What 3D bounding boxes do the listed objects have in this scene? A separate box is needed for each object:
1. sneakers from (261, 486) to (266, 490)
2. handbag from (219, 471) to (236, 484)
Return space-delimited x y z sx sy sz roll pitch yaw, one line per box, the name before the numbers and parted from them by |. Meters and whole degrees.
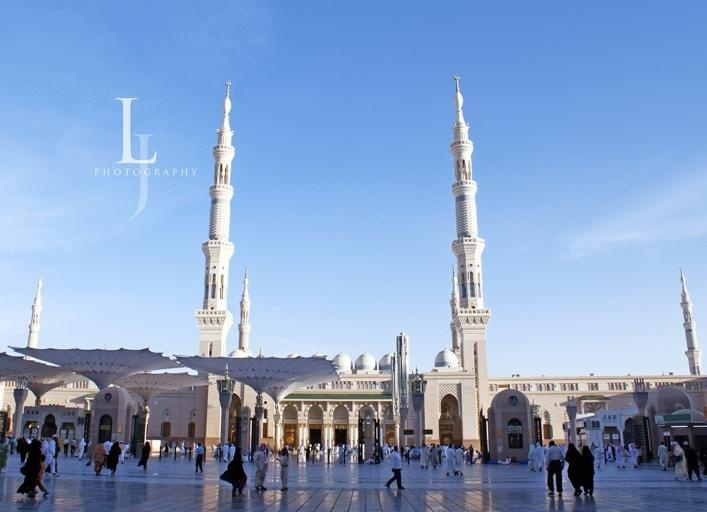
sneakers | -2.978 7.719 22.032 0.205 0.113 0.194 3 -13 -4
handbag | -3.916 6.861 20.643 0.300 0.355 0.727 3 -19 -17
